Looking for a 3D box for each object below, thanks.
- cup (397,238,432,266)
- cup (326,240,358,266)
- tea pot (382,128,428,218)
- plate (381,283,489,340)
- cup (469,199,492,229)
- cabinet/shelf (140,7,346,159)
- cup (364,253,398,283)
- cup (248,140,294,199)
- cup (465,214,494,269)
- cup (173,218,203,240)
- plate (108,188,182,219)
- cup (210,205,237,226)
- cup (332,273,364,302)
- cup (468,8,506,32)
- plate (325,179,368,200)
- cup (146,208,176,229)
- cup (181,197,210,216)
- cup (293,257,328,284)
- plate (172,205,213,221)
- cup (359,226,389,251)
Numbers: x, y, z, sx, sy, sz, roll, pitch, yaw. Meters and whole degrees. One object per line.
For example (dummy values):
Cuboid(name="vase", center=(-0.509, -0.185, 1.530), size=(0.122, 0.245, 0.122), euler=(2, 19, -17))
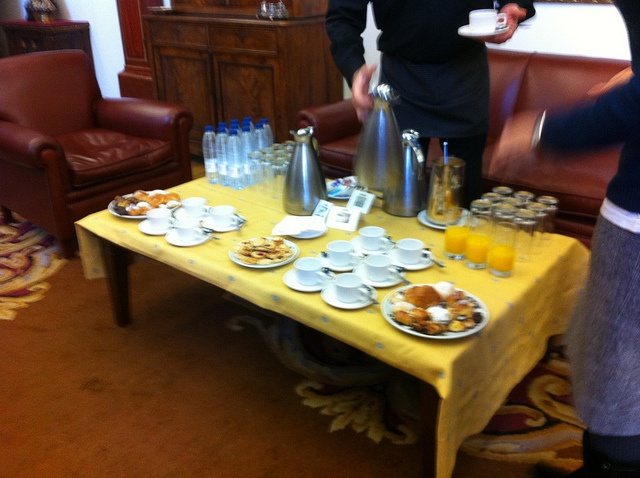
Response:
Cuboid(name="cup", center=(0.325, 0.034, 1.612), size=(0.067, 0.049, 0.102), euler=(-18, 31, -29))
Cuboid(name="cup", center=(0.080, 0.048, 1.620), size=(0.068, 0.064, 0.100), euler=(-18, 32, -27))
Cuboid(name="tea pot", center=(0.326, -0.251, 1.817), size=(0.188, 0.319, 0.207), euler=(-16, 36, -19))
Cuboid(name="plate", center=(0.333, 0.199, 1.359), size=(0.305, 0.055, 0.207), euler=(3, 27, 6))
Cuboid(name="cup", center=(0.580, -0.089, 1.704), size=(0.085, 0.127, 0.078), euler=(0, 20, 0))
Cuboid(name="cabinet/shelf", center=(-0.523, -1.188, 3.494), size=(1.401, 1.275, 0.565), euler=(20, 38, 27))
Cuboid(name="cup", center=(0.198, 0.085, 1.549), size=(0.068, 0.065, 0.102), euler=(-16, 27, -27))
Cuboid(name="cup", center=(-0.175, -0.352, 2.235), size=(0.257, 0.157, 0.251), euler=(0, 30, 0))
Cuboid(name="cup", center=(0.557, 0.009, 1.642), size=(0.101, 0.178, 0.098), euler=(-1, 10, 0))
Cuboid(name="cup", center=(-0.508, -0.042, 1.839), size=(0.083, 0.067, 0.102), euler=(6, 21, 14))
Cuboid(name="plate", center=(-0.756, -0.155, 2.043), size=(0.189, 0.049, 0.186), euler=(1, 27, -3))
Cuboid(name="cup", center=(-0.381, -0.102, 1.892), size=(0.097, 0.044, 0.067), euler=(19, 30, 34))
Cuboid(name="cup", center=(0.085, 0.137, 1.458), size=(0.060, 0.060, 0.093), euler=(-14, 30, -23))
Cuboid(name="cup", center=(0.583, -0.760, 1.667), size=(0.125, 0.083, 0.093), euler=(8, 41, 19))
Cuboid(name="plate", center=(0.095, -0.226, 2.071), size=(0.116, 0.028, 0.117), euler=(-22, 35, -20))
Cuboid(name="cup", center=(-0.638, -0.087, 1.908), size=(0.070, 0.063, 0.091), euler=(15, 17, 41))
Cuboid(name="cup", center=(-0.521, -0.141, 1.979), size=(0.064, 0.040, 0.099), euler=(14, 17, 41))
Cuboid(name="cup", center=(-0.034, 0.103, 1.516), size=(0.067, 0.062, 0.097), euler=(-12, 30, -21))
Cuboid(name="plate", center=(-0.541, -0.111, 1.984), size=(0.104, 0.041, 0.089), euler=(18, 28, 8))
Cuboid(name="cup", center=(0.199, -0.010, 1.705), size=(0.073, 0.054, 0.094), euler=(-18, 32, -27))
